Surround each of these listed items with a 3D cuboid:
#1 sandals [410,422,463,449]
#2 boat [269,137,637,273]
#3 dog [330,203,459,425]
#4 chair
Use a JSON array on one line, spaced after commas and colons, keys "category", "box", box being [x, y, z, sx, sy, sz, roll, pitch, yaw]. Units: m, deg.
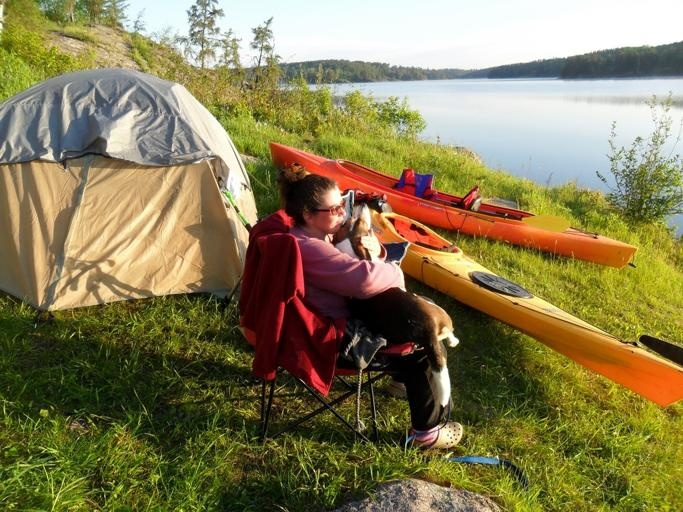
[{"category": "sandals", "box": [0.759, 1.448, 4.620, 0.448, 0.219, 0.209, -8, 61, -5]}, {"category": "boat", "box": [1.746, -0.780, 8.300, 5.437, 1.072, 1.207, 23, 21, 13]}, {"category": "dog", "box": [0.429, 0.547, 4.761, 0.914, 0.492, 1.783, 9, 39, -45]}, {"category": "chair", "box": [-0.341, 0.481, 5.075, 1.496, 2.109, 1.534, 2, 3, -13]}]
